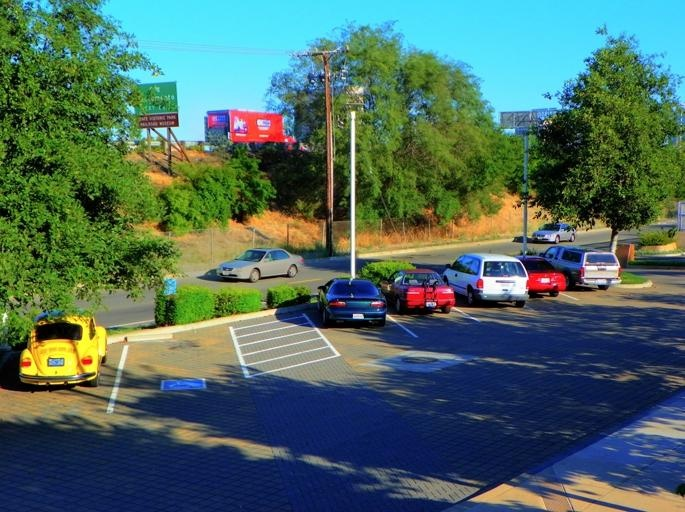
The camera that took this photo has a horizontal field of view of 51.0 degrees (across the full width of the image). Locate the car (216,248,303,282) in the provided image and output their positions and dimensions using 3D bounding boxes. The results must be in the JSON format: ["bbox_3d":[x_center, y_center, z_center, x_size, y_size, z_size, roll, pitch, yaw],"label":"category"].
[{"bbox_3d":[-4.011,0.503,35.248,1.663,1.182,3.779,1,0,38],"label":"car"}]

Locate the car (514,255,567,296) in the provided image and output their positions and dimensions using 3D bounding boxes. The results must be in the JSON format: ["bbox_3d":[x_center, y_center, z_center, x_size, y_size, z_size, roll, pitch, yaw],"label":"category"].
[{"bbox_3d":[8.093,0.834,29.005,1.143,0.853,2.519,-1,8,0],"label":"car"}]

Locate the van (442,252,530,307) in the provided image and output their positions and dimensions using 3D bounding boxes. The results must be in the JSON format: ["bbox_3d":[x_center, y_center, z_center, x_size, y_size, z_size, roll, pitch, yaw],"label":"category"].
[{"bbox_3d":[5.481,0.978,27.809,1.730,2.010,3.361,-4,9,-21],"label":"van"}]

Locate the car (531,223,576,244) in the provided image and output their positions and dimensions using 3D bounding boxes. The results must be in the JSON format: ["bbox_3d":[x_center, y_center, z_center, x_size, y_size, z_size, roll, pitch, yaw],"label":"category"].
[{"bbox_3d":[17.095,-1.776,57.853,3.479,1.527,1.940,-7,11,-38],"label":"car"}]

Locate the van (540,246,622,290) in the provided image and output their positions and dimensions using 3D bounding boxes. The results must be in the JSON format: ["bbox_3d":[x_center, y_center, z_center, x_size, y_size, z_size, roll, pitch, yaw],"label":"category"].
[{"bbox_3d":[10.404,0.490,31.345,1.670,1.261,3.242,-2,12,-18],"label":"van"}]

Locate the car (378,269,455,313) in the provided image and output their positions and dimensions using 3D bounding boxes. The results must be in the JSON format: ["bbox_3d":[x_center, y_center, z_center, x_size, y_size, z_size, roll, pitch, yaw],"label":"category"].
[{"bbox_3d":[2.634,1.331,26.294,1.696,1.565,2.588,-5,10,-29],"label":"car"}]

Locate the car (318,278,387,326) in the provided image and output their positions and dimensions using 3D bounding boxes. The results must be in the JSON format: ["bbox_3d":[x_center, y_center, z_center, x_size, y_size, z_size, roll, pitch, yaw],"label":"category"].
[{"bbox_3d":[0.205,1.637,23.964,1.824,1.461,2.547,-4,9,-22],"label":"car"}]
